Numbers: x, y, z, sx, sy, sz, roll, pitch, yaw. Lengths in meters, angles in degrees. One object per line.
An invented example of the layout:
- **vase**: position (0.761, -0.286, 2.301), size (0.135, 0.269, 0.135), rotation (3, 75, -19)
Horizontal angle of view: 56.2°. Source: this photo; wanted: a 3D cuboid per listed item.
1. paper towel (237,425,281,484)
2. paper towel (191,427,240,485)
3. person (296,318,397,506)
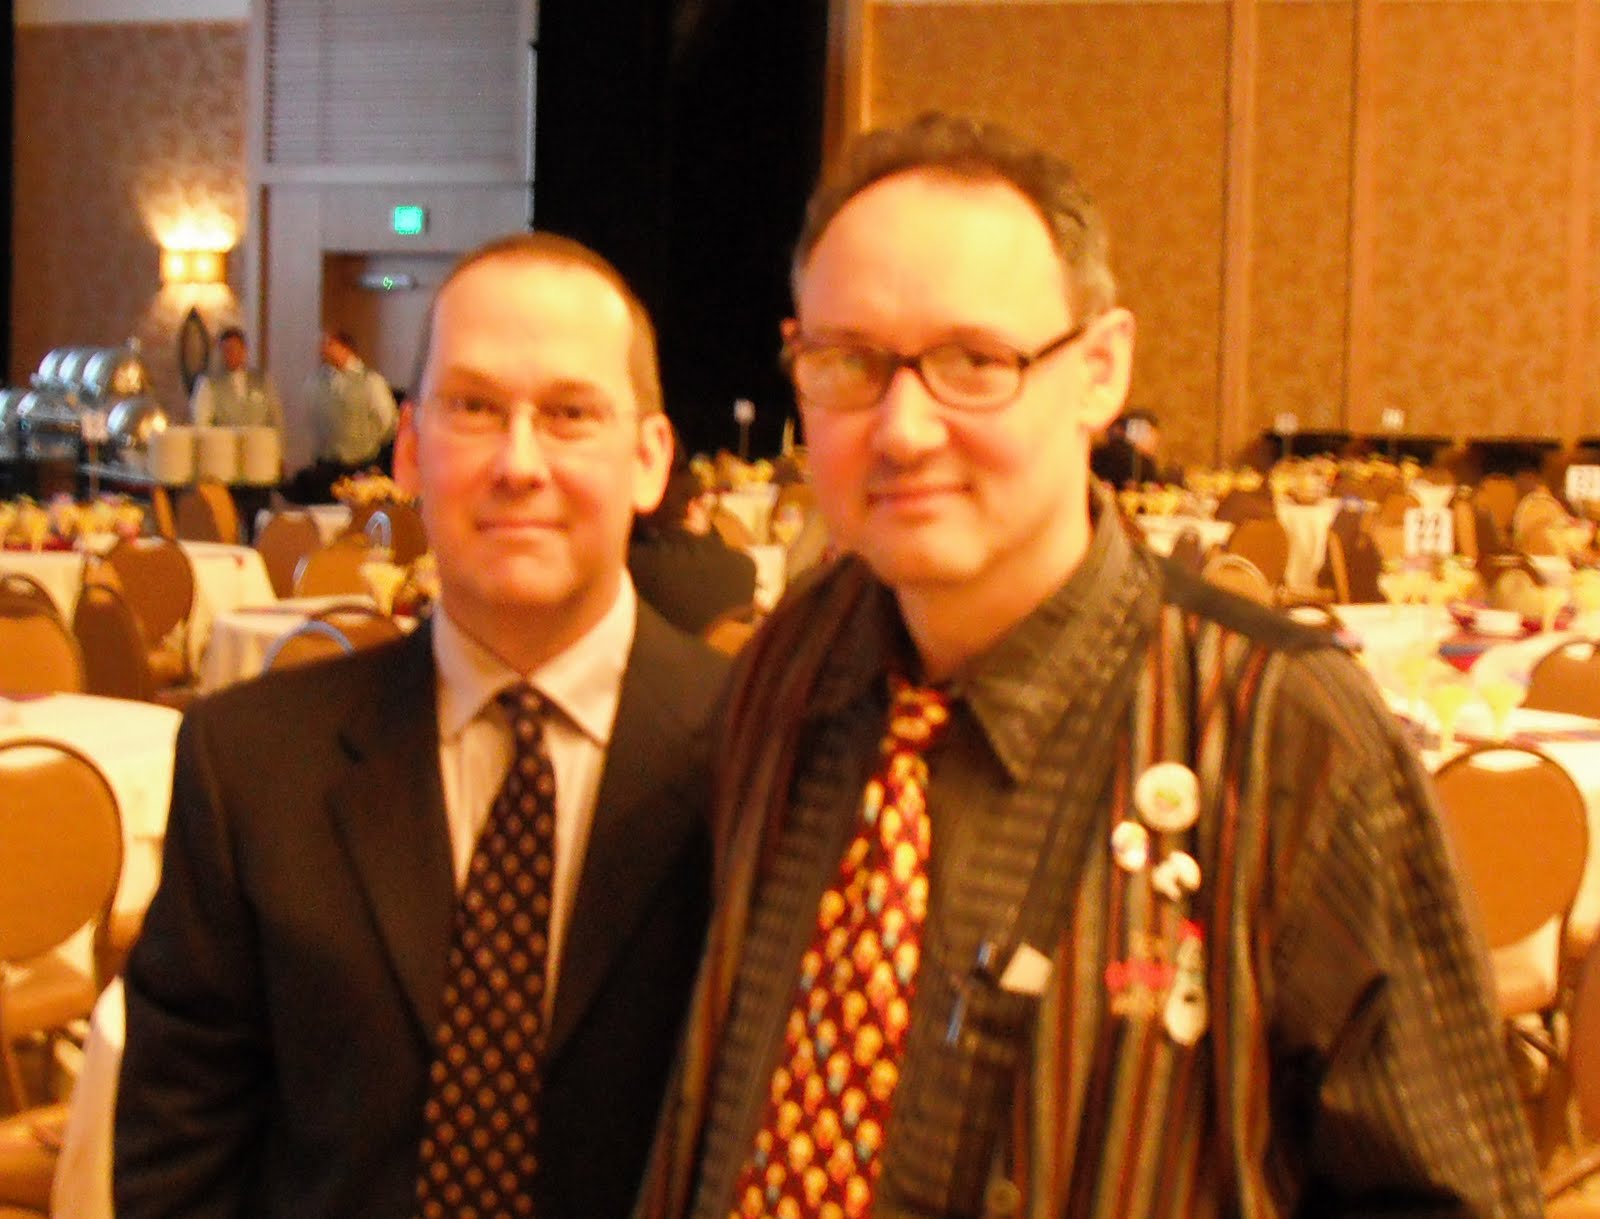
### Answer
- **paper towel**: position (-3.319, -0.969, 9.278), size (0.284, 0.371, 0.288), rotation (-4, 10, -35)
- **paper towel**: position (-3.441, -0.949, 8.981), size (0.301, 0.407, 0.330), rotation (3, 8, 6)
- **person**: position (-3.253, -1.117, 10.792), size (0.665, 1.794, 0.508), rotation (-1, -6, -5)
